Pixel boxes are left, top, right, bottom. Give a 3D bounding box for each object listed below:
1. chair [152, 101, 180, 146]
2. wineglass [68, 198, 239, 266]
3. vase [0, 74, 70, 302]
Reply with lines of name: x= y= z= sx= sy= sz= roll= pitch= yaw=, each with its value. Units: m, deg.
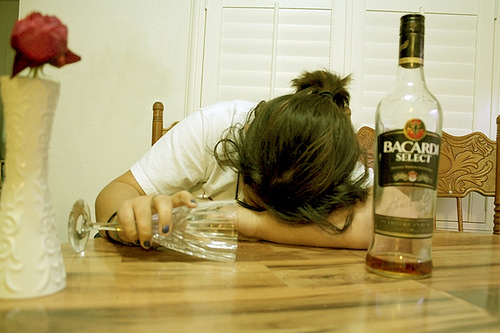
chair: x=-0.358 y=-0.183 z=1.776 sx=0.107 sy=0.173 sz=0.279 roll=-1 pitch=13 yaw=-13
wineglass: x=-0.200 y=0.126 z=0.939 sx=0.340 sy=0.142 sz=0.150 roll=2 pitch=-1 yaw=-1
vase: x=-0.363 y=0.034 z=0.696 sx=0.096 sy=0.366 sz=0.079 roll=-1 pitch=13 yaw=-12
